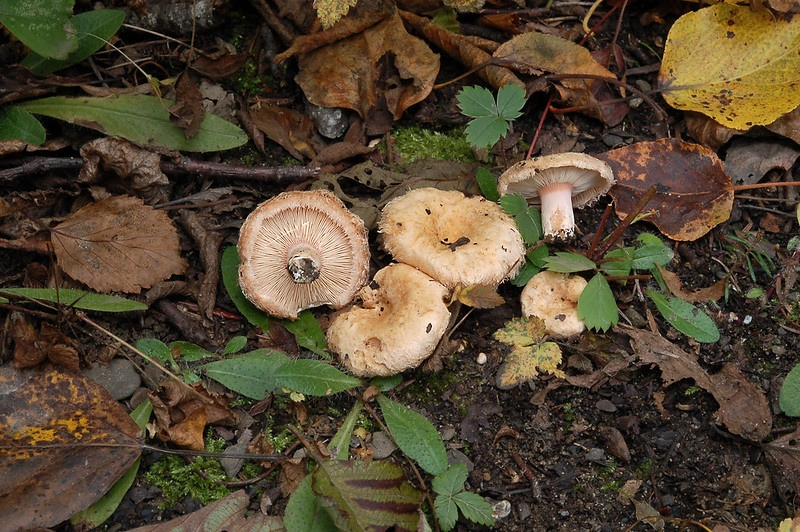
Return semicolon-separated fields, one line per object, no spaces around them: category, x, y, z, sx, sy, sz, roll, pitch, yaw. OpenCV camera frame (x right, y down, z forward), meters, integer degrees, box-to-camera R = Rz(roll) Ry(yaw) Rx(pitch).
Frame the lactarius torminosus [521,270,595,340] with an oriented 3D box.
lactarius torminosus;1.192;0.278;5.098;0.483;0.299;0.527;1;81;0
